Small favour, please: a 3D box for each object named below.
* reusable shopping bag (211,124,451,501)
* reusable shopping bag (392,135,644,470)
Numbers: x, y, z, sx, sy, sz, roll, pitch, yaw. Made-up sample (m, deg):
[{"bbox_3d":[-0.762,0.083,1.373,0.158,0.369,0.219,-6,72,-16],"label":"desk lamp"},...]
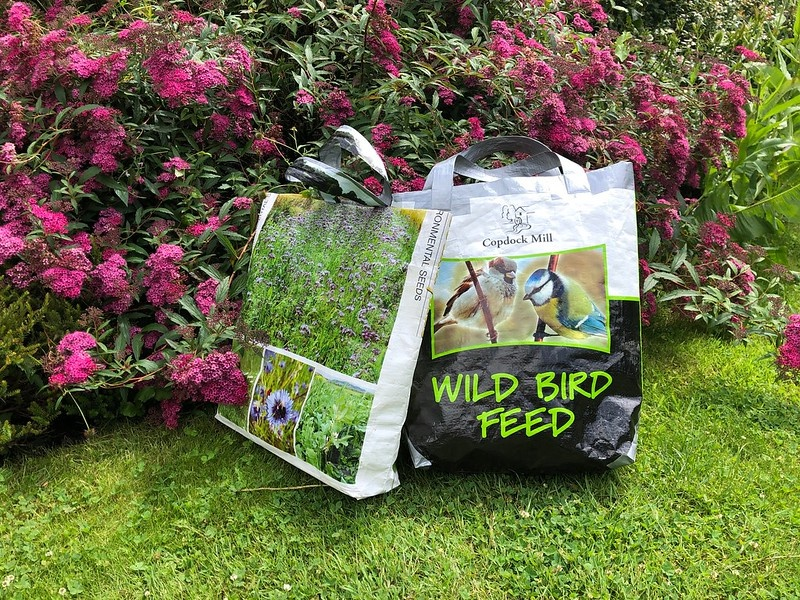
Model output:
[{"bbox_3d":[-0.255,0.092,2.492,0.928,0.981,0.526,23,26,28],"label":"reusable shopping bag"},{"bbox_3d":[0.477,0.047,2.574,1.035,1.298,0.378,-3,8,13],"label":"reusable shopping bag"}]
